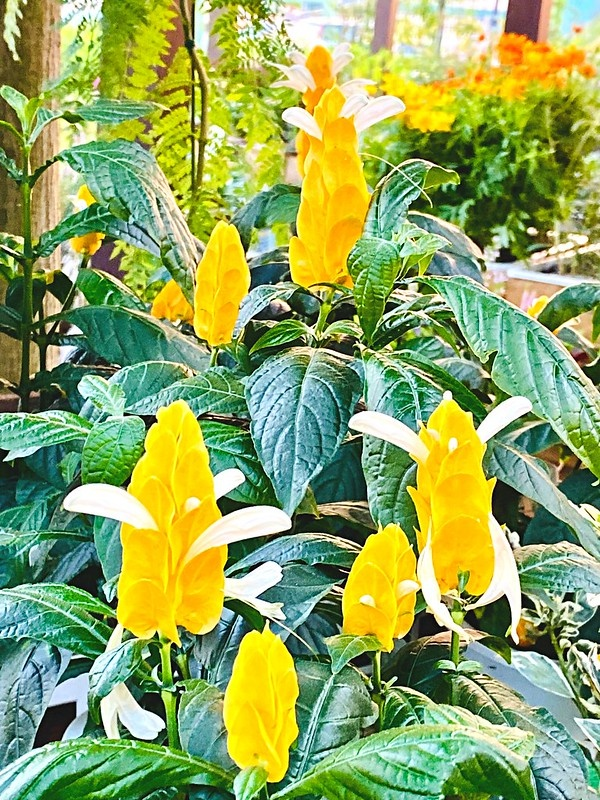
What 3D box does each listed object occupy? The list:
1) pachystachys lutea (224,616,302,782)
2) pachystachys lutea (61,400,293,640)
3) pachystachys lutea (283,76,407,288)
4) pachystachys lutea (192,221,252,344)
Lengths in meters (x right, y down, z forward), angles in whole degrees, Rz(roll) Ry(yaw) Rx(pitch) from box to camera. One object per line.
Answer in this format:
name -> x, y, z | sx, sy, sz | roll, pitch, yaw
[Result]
pachystachys lutea -> -0.024, 0.207, 0.632 | 0.051, 0.108, 0.042 | 19, 23, 15
pachystachys lutea -> -0.099, 0.091, 0.647 | 0.188, 0.148, 0.143 | -4, 4, -20
pachystachys lutea -> 0.022, -0.190, 0.851 | 0.101, 0.181, 0.181 | 13, 20, 1
pachystachys lutea -> -0.075, -0.108, 0.888 | 0.049, 0.122, 0.068 | 10, 22, -8
